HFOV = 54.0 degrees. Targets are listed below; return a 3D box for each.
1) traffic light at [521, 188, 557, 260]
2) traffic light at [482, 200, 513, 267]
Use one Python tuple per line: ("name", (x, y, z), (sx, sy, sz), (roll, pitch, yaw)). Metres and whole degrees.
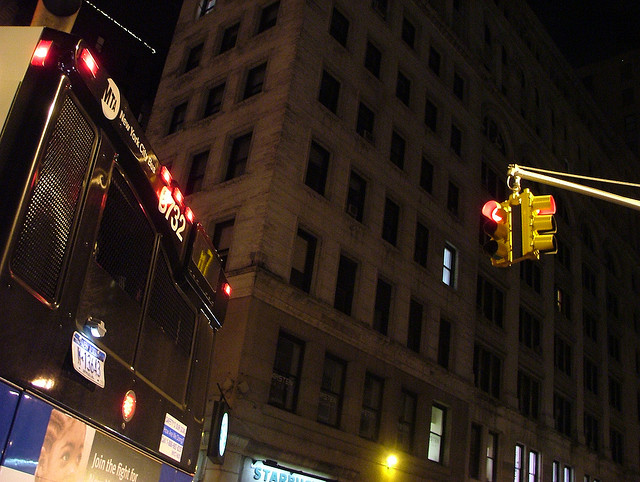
("traffic light", (3.274, -0.245, 9.548), (0.505, 1.118, 0.334), (-9, -26, 36))
("traffic light", (2.746, -0.209, 9.771), (0.435, 1.321, 0.573), (-2, -30, 13))
